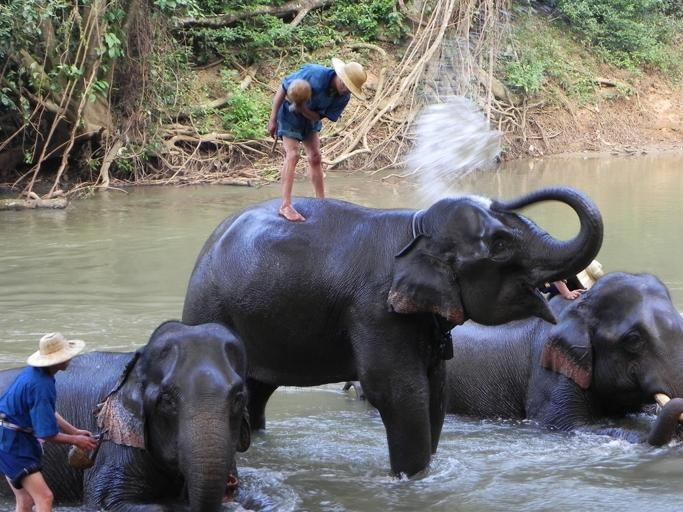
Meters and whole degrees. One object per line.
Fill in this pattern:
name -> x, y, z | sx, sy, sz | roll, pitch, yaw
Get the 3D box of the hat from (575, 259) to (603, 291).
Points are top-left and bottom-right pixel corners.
hat -> 1.478, 0.120, 5.246 | 0.147, 0.136, 0.234 | -11, -6, -17
